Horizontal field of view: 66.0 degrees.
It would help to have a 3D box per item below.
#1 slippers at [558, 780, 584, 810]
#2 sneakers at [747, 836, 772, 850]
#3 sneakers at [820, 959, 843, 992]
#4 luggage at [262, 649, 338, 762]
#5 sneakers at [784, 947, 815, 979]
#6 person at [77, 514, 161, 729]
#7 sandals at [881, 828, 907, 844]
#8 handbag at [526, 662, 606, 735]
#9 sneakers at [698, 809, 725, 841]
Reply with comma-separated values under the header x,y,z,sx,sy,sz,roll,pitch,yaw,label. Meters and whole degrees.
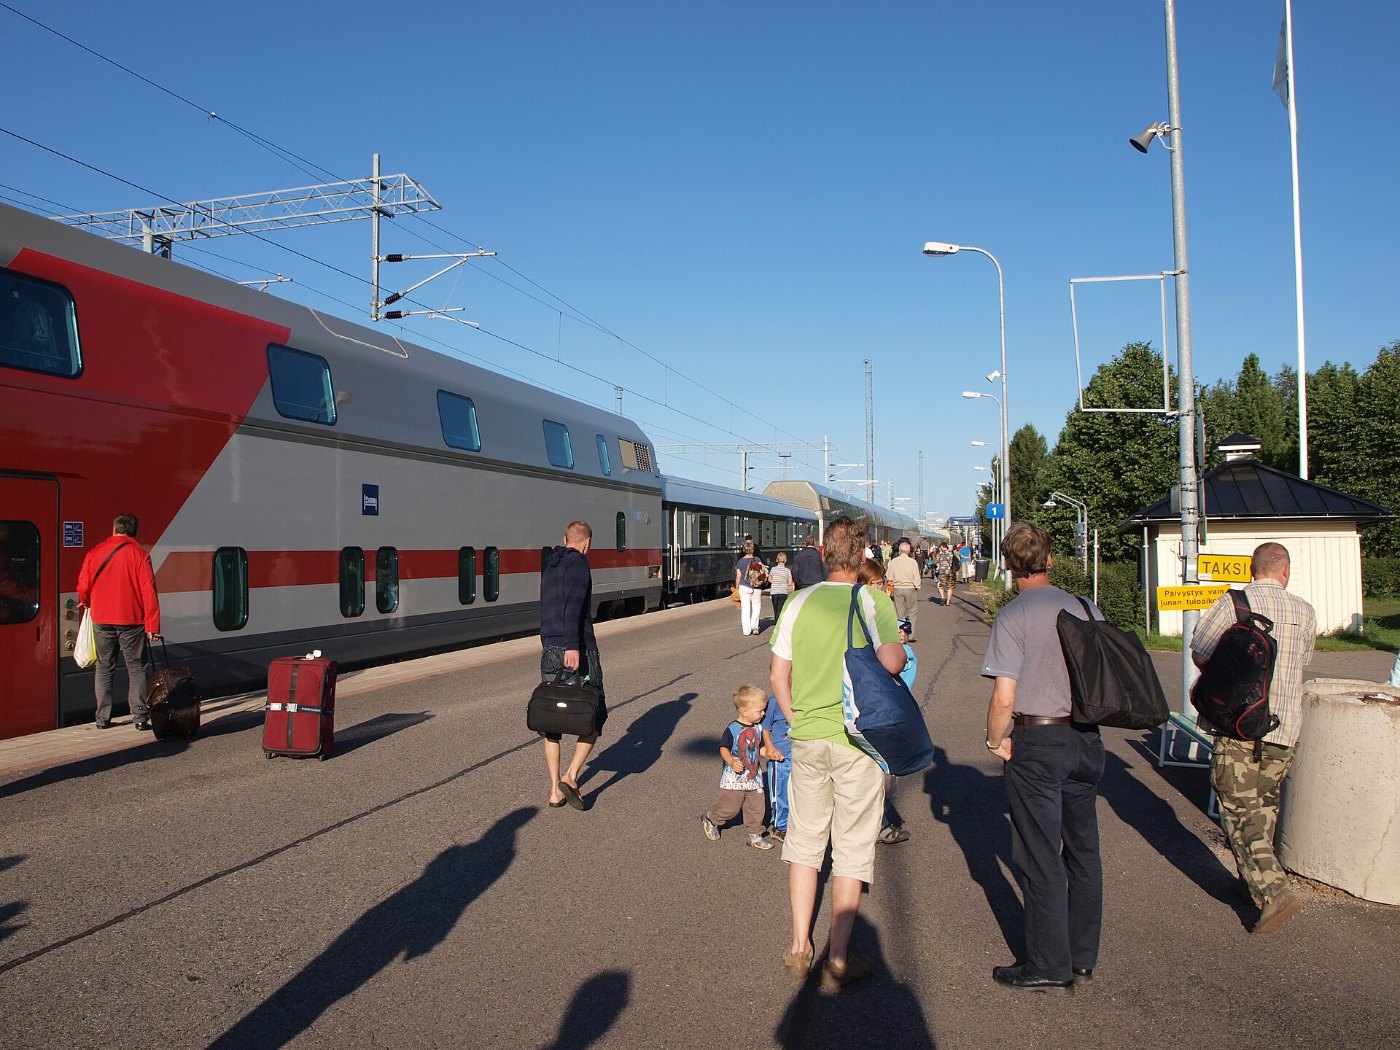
x,y,z,sx,sy,sz,roll,pitch,yaw,label
-1.074,2.230,8.937,0.112,0.340,0.125,-25,-11,26,slippers
0.465,2.397,8.177,0.203,0.100,0.073,-9,1,32,sneakers
0.759,2.521,6.146,0.117,0.119,0.311,1,4,5,sneakers
-3.931,1.781,10.321,0.609,0.983,0.577,2,-20,-14,luggage
0.581,2.496,6.218,0.169,0.134,0.158,0,4,-3,sneakers
-5.887,0.989,10.888,0.806,2.206,0.597,-1,4,-14,person
1.478,2.363,8.267,0.077,0.098,0.230,-9,-21,30,sandals
-1.056,1.459,8.950,0.750,0.873,0.440,-1,-6,4,handbag
0.094,2.318,8.374,0.153,0.151,0.352,0,4,-8,sneakers
